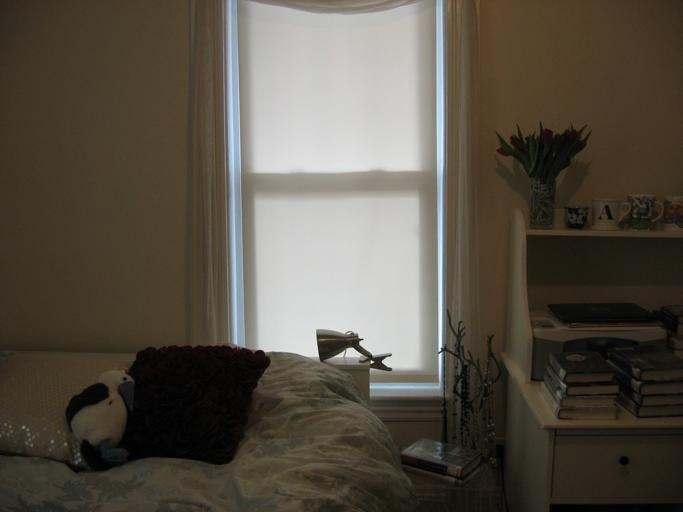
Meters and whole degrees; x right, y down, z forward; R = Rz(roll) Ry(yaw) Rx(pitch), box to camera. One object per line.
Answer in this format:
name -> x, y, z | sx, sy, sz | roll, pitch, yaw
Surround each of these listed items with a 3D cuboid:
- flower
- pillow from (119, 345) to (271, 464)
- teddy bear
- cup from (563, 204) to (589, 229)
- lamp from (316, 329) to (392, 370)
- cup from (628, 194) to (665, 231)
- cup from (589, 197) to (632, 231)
flower -> 0.890, -0.399, 2.743 | 0.319, 0.241, 0.330 | -3, 2, -22
pillow -> -0.514, 0.515, 2.229 | 0.368, 0.408, 0.118 | 6, -23, 6
teddy bear -> -0.849, 0.592, 2.224 | 0.209, 0.383, 0.221 | -17, -40, -3
cup -> 1.025, -0.167, 2.730 | 0.088, 0.093, 0.103 | 0, -4, 8
lamp -> 0.053, 0.386, 2.693 | 0.290, 0.177, 0.164 | 1, 1, 3
cup -> 1.307, -0.187, 2.770 | 0.179, 0.197, 0.123 | -2, 3, 12
cup -> 1.147, -0.165, 2.679 | 0.149, 0.140, 0.105 | 2, 6, 14
